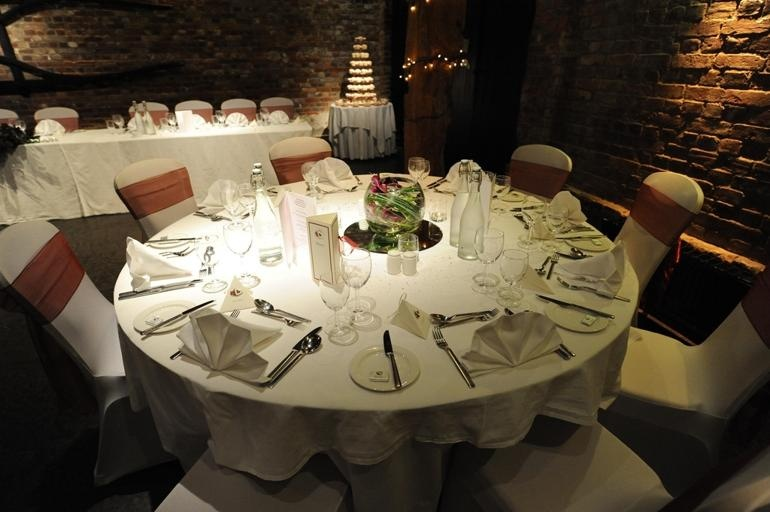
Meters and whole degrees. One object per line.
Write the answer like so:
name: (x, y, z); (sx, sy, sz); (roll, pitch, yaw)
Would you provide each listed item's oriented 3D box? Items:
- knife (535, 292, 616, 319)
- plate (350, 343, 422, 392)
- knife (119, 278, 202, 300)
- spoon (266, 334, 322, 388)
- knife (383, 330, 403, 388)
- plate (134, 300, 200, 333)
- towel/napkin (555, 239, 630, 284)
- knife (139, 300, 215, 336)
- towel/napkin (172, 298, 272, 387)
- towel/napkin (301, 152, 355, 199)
knife: (0.929, 0.246, 2.297); (0.300, 0.014, 0.042); (17, 47, 21)
plate: (-0.003, 0.487, 2.062); (0.300, 0.068, 0.202); (-4, 35, -2)
knife: (-1.147, 0.174, 2.412); (0.343, 0.036, 0.045); (-9, 44, -19)
spoon: (-0.391, 0.448, 2.119); (0.099, 0.041, 0.365); (28, 49, 16)
knife: (0.036, 0.450, 2.074); (0.050, 0.023, 0.267); (2, 39, -10)
plate: (-1.068, 0.292, 2.261); (0.133, 0.028, 0.221); (18, 38, 26)
towel/napkin: (1.070, 0.047, 2.452); (0.245, 0.097, 0.243); (5, 26, 24)
knife: (-0.970, 0.295, 2.209); (0.315, 0.015, 0.041); (-25, 55, -37)
towel/napkin: (-0.700, 0.385, 2.105); (0.397, 0.284, 0.153); (17, 15, 17)
towel/napkin: (-0.398, -0.566, 3.438); (0.334, 0.117, 0.335); (-11, 42, -21)
